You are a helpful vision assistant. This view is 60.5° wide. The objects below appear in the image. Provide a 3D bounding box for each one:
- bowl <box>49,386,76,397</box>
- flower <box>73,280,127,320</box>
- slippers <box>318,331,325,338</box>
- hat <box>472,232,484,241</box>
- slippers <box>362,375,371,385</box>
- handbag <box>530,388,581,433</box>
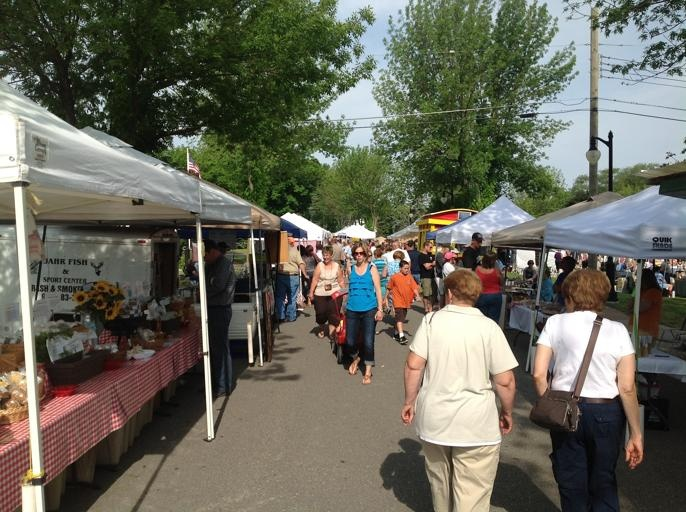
[{"bbox_3d":[-2.618,1.248,5.499,0.218,0.091,0.143,-3,6,-38],"label":"bowl"},{"bbox_3d":[-3.001,0.487,6.894,0.499,0.214,0.557,10,15,-28],"label":"flower"},{"bbox_3d":[-0.509,1.697,12.730,0.082,0.140,0.140,-4,-15,23],"label":"slippers"},{"bbox_3d":[2.794,-0.418,12.399,0.301,0.182,0.235,5,5,35],"label":"hat"},{"bbox_3d":[0.350,1.895,9.031,0.100,0.076,0.268,-1,-7,4],"label":"slippers"},{"bbox_3d":[1.801,1.305,4.986,0.210,0.383,0.389,34,-22,-28],"label":"handbag"}]
